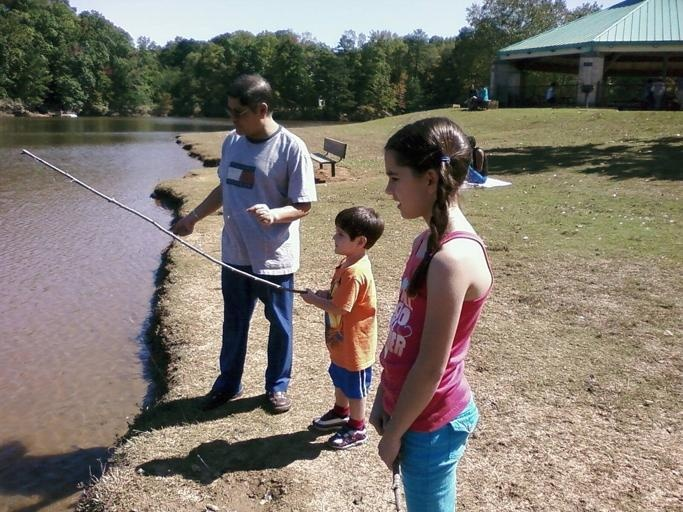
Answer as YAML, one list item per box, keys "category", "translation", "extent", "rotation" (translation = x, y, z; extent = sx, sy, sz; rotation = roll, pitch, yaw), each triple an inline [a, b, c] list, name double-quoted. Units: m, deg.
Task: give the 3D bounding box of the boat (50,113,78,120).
- category: "boat"
  translation: [-32.642, -16.766, 71.962]
  extent: [2.503, 0.410, 14.186]
  rotation: [-5, 17, -23]

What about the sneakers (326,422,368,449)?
- category: "sneakers"
  translation: [0.063, 1.506, 5.152]
  extent: [0.344, 0.141, 0.146]
  rotation: [-2, 8, -27]

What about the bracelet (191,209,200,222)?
- category: "bracelet"
  translation: [-1.323, -0.369, 5.514]
  extent: [0.030, 0.090, 0.099]
  rotation: [-25, 4, -24]

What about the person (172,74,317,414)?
- category: "person"
  translation: [-0.784, -0.094, 5.397]
  extent: [1.011, 2.927, 0.782]
  rotation: [9, 19, 22]

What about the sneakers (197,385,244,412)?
- category: "sneakers"
  translation: [-1.120, 1.277, 5.638]
  extent: [0.416, 0.159, 0.147]
  rotation: [-10, 25, -36]

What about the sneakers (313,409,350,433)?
- category: "sneakers"
  translation: [-0.088, 1.412, 5.246]
  extent: [0.344, 0.142, 0.150]
  rotation: [-1, 8, -3]

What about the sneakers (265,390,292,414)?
- category: "sneakers"
  translation: [-0.578, 1.320, 5.534]
  extent: [0.116, 0.126, 0.302]
  rotation: [-1, -7, -25]
